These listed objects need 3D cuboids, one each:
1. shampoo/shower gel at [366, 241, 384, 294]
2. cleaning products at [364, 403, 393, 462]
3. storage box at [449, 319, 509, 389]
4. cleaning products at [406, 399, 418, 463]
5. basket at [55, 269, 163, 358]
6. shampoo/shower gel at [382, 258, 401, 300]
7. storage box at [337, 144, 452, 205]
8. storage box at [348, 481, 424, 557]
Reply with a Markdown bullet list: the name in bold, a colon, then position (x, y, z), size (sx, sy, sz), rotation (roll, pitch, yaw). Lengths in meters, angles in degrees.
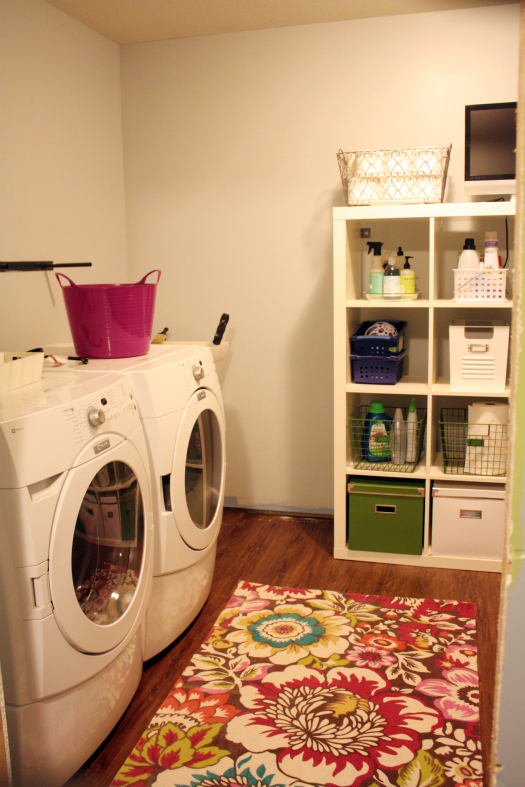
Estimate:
- **shampoo/shower gel**: position (0.492, -0.545, 2.466), size (0.071, 0.247, 0.329), rotation (0, 6, 11)
- **cleaning products**: position (0.509, 0.154, 2.453), size (0.118, 0.275, 0.112), rotation (-2, 29, 10)
- **storage box**: position (0.837, -0.153, 2.215), size (0.222, 0.249, 0.242), rotation (1, 2, 13)
- **cleaning products**: position (0.637, 0.157, 2.378), size (0.060, 0.253, 0.064), rotation (-1, 6, -3)
- **basket**: position (-0.485, -0.256, 1.799), size (0.295, 0.283, 0.276), rotation (0, 11, -5)
- **shampoo/shower gel**: position (0.533, -0.456, 2.301), size (0.078, 0.133, 0.061), rotation (0, 6, 11)
- **storage box**: position (0.524, -0.802, 2.202), size (0.364, 0.196, 0.255), rotation (1, 10, 12)
- **storage box**: position (0.523, 0.507, 2.375), size (0.282, 0.319, 0.304), rotation (2, 6, 15)
